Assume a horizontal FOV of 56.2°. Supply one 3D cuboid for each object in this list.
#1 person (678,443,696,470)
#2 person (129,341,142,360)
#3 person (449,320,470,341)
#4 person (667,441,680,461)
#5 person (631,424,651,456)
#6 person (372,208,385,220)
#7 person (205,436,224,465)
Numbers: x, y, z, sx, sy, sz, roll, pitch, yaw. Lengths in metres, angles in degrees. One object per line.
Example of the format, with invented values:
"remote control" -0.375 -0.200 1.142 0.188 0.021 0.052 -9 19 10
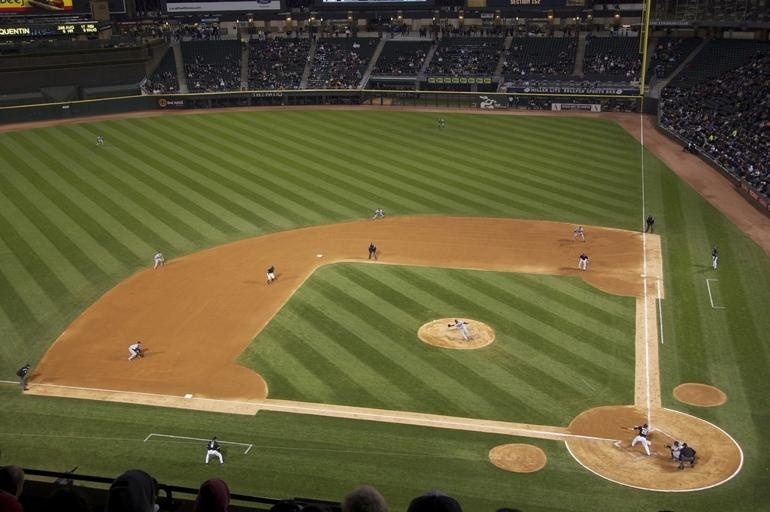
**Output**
"person" 16.010 10.592 38.341 0.780 1.209 1.066 -6 -16 23
"person" -16.157 6.141 46.721 0.796 1.189 1.091 6 -15 -18
"person" 4.903 4.827 47.662 1.406 1.475 1.443 0 -14 2
"person" 15.536 10.415 38.566 0.599 1.060 1.038 -4 -15 18
"person" 13.961 9.984 39.325 0.948 1.632 0.943 -3 -16 15
"person" -0.502 -3.893 63.809 0.940 1.130 1.365 1 -13 -2
"person" -9.317 10.696 39.619 0.991 1.345 1.340 4 -14 -11
